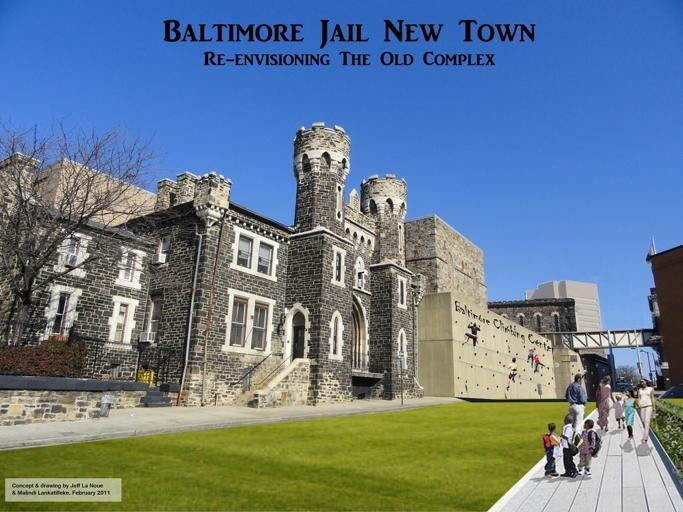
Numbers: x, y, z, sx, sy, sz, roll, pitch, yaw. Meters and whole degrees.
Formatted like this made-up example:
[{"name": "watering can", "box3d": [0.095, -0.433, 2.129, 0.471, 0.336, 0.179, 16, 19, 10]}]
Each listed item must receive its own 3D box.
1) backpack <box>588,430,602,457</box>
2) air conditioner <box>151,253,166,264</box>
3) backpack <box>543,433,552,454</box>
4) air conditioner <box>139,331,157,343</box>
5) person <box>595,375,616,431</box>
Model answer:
[{"name": "backpack", "box3d": [5.900, 4.347, 9.860, 0.193, 0.540, 0.464, -6, -16, 30]}, {"name": "air conditioner", "box3d": [-10.839, 0.085, 25.313, 0.741, 0.642, 0.296, 2, -14, 0]}, {"name": "backpack", "box3d": [4.692, 4.253, 9.649, 0.164, 0.407, 0.244, -4, -15, 23]}, {"name": "air conditioner", "box3d": [-10.880, 4.541, 24.010, 1.042, 0.711, 0.581, -2, -7, 35]}, {"name": "person", "box3d": [9.652, 5.394, 15.549, 0.574, 1.972, 1.608, -6, -16, 30]}]
